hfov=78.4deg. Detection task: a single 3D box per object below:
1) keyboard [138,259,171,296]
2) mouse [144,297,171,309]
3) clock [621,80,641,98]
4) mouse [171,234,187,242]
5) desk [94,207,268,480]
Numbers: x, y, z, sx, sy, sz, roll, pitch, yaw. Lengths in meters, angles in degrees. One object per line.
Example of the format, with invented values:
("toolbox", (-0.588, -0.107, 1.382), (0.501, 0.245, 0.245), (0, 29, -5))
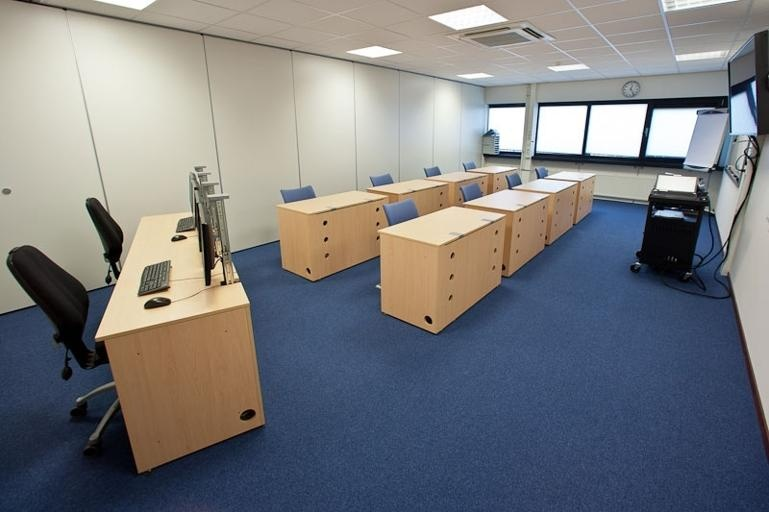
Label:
("keyboard", (-2.217, 0.217, 4.549), (0.257, 0.082, 0.382), (-11, 42, -9))
("mouse", (-2.054, 0.418, 4.259), (0.181, 0.066, 0.104), (-13, 22, -26))
("clock", (5.265, -3.561, 10.069), (0.075, 0.336, 0.320), (-5, 13, -40))
("mouse", (-2.347, -0.209, 5.388), (0.139, 0.051, 0.081), (-7, 22, -22))
("desk", (-1.959, 0.909, 4.728), (1.253, 1.584, 1.353), (-8, 20, -18))
